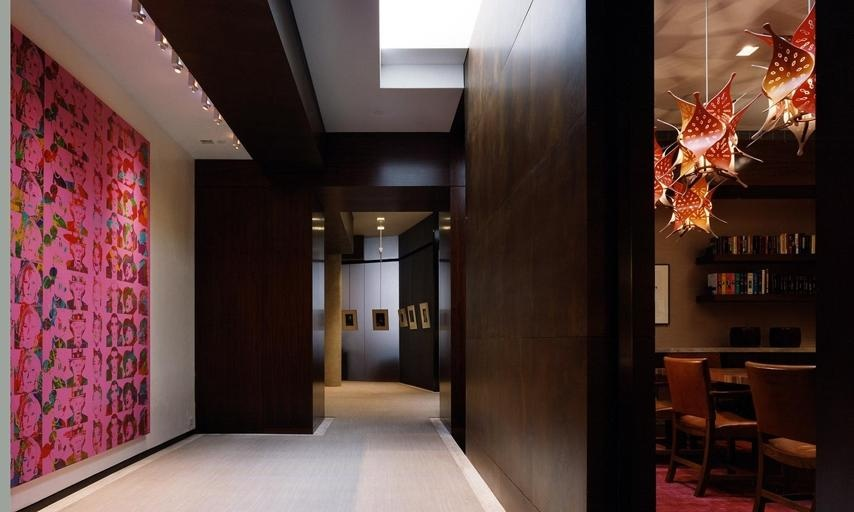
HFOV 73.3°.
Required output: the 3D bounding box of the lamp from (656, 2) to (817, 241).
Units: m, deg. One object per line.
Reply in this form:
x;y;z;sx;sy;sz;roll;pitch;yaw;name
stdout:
3.576;-1.598;6.652;0.662;2.160;2.166;7;-7;16;lamp
